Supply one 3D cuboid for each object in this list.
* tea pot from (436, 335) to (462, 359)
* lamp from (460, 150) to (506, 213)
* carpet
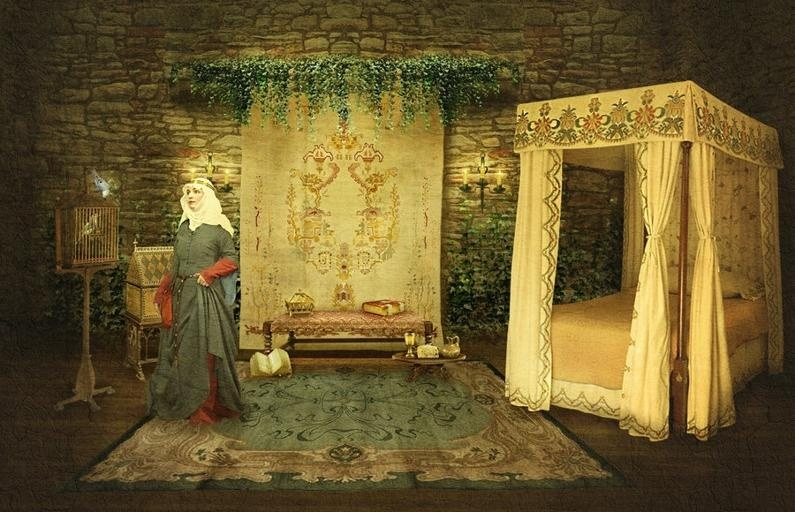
[{"bbox_3d":[0.640,1.107,8.406,0.459,0.316,0.288,1,-3,-8],"label":"tea pot"},{"bbox_3d":[1.288,-1.105,10.200,0.706,0.855,0.335,3,11,5],"label":"lamp"},{"bbox_3d":[-0.351,1.762,7.433,4.724,0.487,2.254,1,9,-1],"label":"carpet"}]
